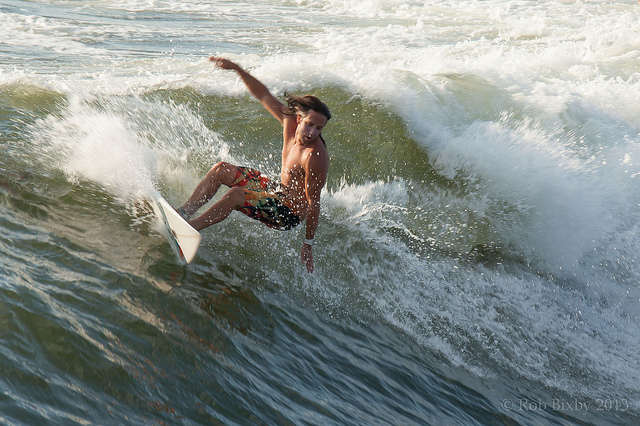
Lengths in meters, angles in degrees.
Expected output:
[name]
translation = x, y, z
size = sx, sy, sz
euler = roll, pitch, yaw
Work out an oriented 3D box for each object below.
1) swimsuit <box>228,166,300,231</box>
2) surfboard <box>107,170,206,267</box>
[swimsuit]
translation = -0.696, -0.178, 9.367
size = 1.000, 0.334, 0.557
euler = 33, 51, -27
[surfboard]
translation = -2.093, -0.017, 9.285
size = 0.632, 0.357, 2.116
euler = -51, 41, -5
